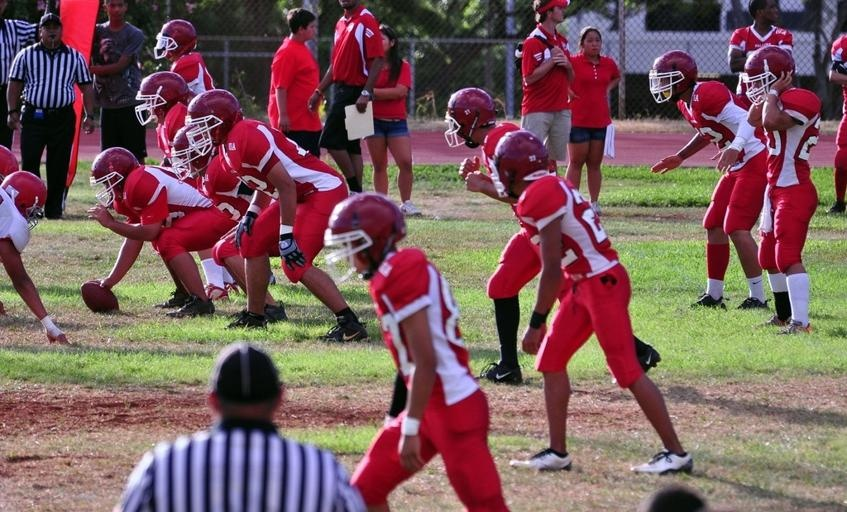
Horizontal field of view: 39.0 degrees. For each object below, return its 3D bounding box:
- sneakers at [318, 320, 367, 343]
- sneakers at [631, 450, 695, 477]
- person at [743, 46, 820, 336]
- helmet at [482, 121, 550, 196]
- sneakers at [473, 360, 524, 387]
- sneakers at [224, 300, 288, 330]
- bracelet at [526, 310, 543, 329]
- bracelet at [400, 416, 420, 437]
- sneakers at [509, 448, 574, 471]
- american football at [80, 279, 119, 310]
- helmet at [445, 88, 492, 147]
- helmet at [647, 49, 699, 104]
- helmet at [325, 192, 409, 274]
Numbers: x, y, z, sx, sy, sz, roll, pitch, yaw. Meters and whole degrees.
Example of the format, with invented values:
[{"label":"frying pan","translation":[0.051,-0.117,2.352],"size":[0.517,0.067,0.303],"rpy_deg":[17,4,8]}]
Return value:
[{"label":"sneakers","translation":[-0.818,0.803,12.699],"size":[0.567,0.245,0.189],"rpy_deg":[1,3,4]},{"label":"sneakers","translation":[2.086,1.788,10.347],"size":[0.542,0.217,0.194],"rpy_deg":[0,2,0]},{"label":"person","translation":[3.875,-0.720,12.744],"size":[0.614,2.983,0.730],"rpy_deg":[-6,9,-38]},{"label":"helmet","translation":[0.844,-0.867,10.603],"size":[0.468,0.506,0.584],"rpy_deg":[-24,21,-24]},{"label":"sneakers","translation":[0.774,1.166,11.845],"size":[0.425,0.177,0.204],"rpy_deg":[3,1,12]},{"label":"sneakers","translation":[-1.835,0.673,13.118],"size":[0.703,0.260,0.231],"rpy_deg":[-1,2,-10]},{"label":"bracelet","translation":[1.002,0.555,10.482],"size":[0.147,0.121,0.126],"rpy_deg":[18,6,-15]},{"label":"bracelet","translation":[-0.105,1.310,9.229],"size":[0.150,0.137,0.145],"rpy_deg":[1,-3,-8]},{"label":"sneakers","translation":[1.039,1.764,10.421],"size":[0.537,0.198,0.187],"rpy_deg":[3,-5,-1]},{"label":"american football","translation":[-3.640,0.476,13.421],"size":[0.376,0.218,0.289],"rpy_deg":[40,-3,-31]},{"label":"helmet","translation":[0.479,-1.348,11.718],"size":[0.590,0.567,0.502],"rpy_deg":[3,11,6]},{"label":"helmet","translation":[2.674,-1.939,13.000],"size":[0.585,0.485,0.480],"rpy_deg":[-5,7,5]},{"label":"helmet","translation":[-0.445,-0.149,9.260],"size":[0.612,0.663,0.271],"rpy_deg":[-1,7,-4]}]
